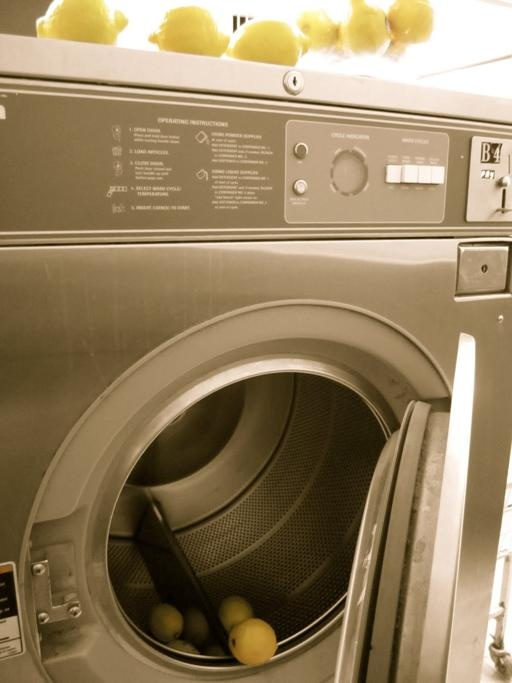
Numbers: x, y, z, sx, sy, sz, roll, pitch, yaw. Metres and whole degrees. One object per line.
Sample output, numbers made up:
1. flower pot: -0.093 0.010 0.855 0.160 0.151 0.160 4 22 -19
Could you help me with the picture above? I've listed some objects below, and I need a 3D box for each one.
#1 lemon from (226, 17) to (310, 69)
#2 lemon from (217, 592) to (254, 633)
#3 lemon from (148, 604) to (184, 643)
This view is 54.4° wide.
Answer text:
1. lemon: 0.009 -0.316 0.529 0.076 0.044 0.036 -3 21 -3
2. lemon: -0.029 0.362 0.675 0.029 0.044 0.031 3 22 34
3. lemon: -0.113 0.355 0.638 0.036 0.053 0.037 -28 -30 34
